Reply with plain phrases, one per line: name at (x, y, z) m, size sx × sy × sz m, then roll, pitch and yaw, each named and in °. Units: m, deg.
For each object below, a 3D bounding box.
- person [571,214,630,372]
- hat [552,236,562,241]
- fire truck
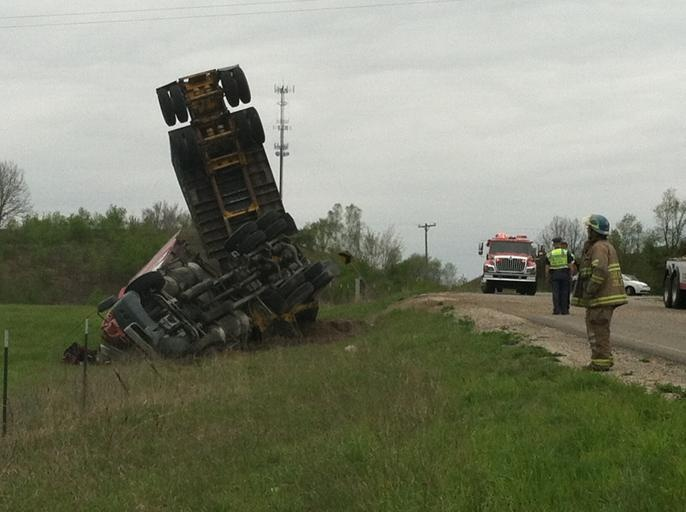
person at (4.485, 0.652, 14.521) m, size 0.869 × 2.767 × 0.549 m, roll -2°, pitch 2°, yaw 24°
hat at (5.493, -0.449, 21.377) m, size 0.268 × 0.132 × 0.362 m, roll -2°, pitch 2°, yaw 4°
fire truck at (6.211, 0.322, 30.989) m, size 1.647 × 2.119 × 3.168 m, roll 0°, pitch -7°, yaw 4°
